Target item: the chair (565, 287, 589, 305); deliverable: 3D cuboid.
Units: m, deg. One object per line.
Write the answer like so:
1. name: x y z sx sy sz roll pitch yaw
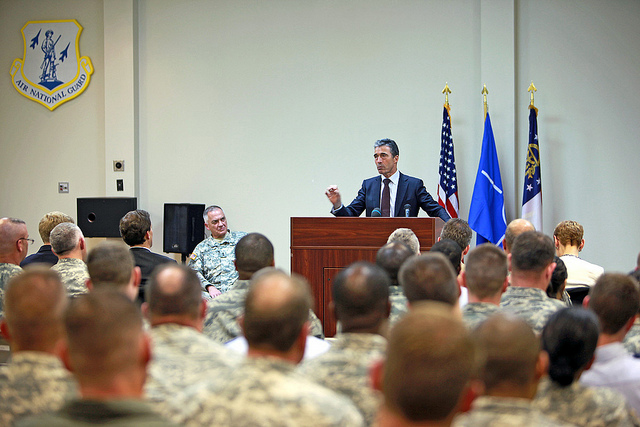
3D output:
1. chair: 1.947 0.619 4.432 0.159 0.162 0.134 -5 -6 31

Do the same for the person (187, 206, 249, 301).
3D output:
1. person: -1.045 0.512 6.053 0.656 1.150 0.623 -6 33 -13

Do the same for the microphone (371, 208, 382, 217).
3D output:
1. microphone: 0.487 0.017 5.074 0.068 0.103 0.088 5 29 13

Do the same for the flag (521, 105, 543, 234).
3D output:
1. flag: 2.296 -0.499 6.316 0.200 1.352 0.324 1 1 20

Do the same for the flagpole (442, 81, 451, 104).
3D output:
1. flagpole: 1.414 -1.341 6.528 0.090 0.285 0.293 1 1 10

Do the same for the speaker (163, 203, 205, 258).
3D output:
1. speaker: -1.633 0.161 6.851 0.333 0.597 0.339 12 20 18

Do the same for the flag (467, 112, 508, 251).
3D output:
1. flag: 1.828 -0.382 6.334 0.397 1.465 0.473 1 1 17

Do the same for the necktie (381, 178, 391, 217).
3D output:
1. necktie: 0.655 -0.163 5.840 0.090 0.364 0.065 1 1 9

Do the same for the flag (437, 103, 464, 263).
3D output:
1. flag: 1.419 -0.580 6.451 0.207 1.235 0.356 1 1 12

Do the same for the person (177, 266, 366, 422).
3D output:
1. person: -0.202 0.550 2.433 0.743 0.585 0.260 1 1 6

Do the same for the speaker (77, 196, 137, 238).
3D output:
1. speaker: -2.586 0.099 7.065 0.585 0.509 0.345 1 -13 -6
